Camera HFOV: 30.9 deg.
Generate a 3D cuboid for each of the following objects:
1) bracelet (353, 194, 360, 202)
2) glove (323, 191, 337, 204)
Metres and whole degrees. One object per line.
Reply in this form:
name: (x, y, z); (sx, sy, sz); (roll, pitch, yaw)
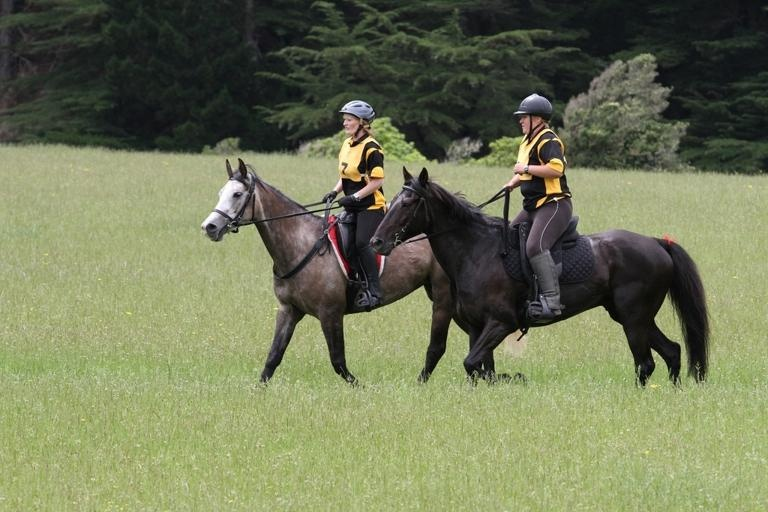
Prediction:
bracelet: (-0.872, -1.813, 43.911); (0.211, 0.257, 0.136); (-1, 19, -9)
glove: (-1.720, -1.889, 44.330); (0.415, 0.312, 0.206); (6, 27, -14)
